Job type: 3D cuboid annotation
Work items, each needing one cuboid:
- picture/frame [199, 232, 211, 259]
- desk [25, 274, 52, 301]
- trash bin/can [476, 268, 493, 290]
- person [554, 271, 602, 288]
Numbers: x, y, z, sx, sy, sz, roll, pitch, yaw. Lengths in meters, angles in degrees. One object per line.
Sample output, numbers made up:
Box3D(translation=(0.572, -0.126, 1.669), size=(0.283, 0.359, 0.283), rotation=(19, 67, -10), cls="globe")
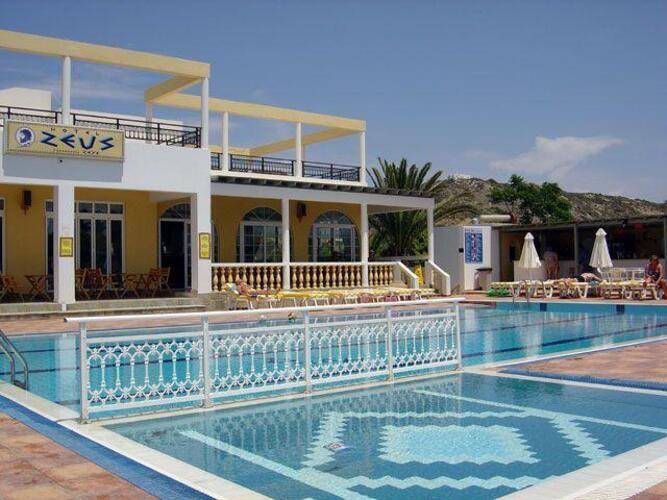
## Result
Box3D(translation=(-4.036, -0.129, 20.018), size=(0.477, 0.828, 0.146), rotation=(1, -2, -42), cls="picture/frame")
Box3D(translation=(-9.414, 1.219, 20.618), size=(0.924, 0.872, 0.927), rotation=(1, -2, -13), cls="desk")
Box3D(translation=(6.276, 1.193, 26.790), size=(0.796, 1.200, 0.801), rotation=(-1, 1, -3), cls="trash bin/can")
Box3D(translation=(8.718, 1.075, 22.823), size=(1.303, 0.344, 0.750), rotation=(-8, 5, -30), cls="person")
